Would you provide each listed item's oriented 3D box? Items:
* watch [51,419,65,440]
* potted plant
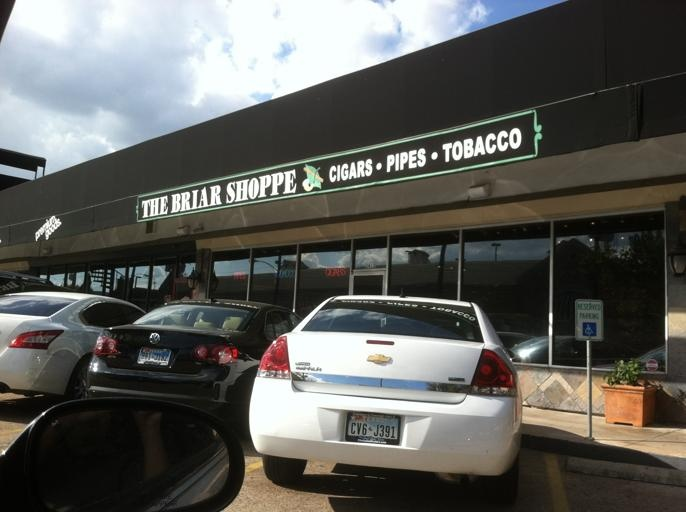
[{"bbox_3d":[-0.897,0.542,1.599,0.027,0.040,0.034,-12,-27,-2],"label":"watch"},{"bbox_3d":[4.877,2.282,8.531,0.857,1.034,0.730,2,-6,8],"label":"potted plant"}]
